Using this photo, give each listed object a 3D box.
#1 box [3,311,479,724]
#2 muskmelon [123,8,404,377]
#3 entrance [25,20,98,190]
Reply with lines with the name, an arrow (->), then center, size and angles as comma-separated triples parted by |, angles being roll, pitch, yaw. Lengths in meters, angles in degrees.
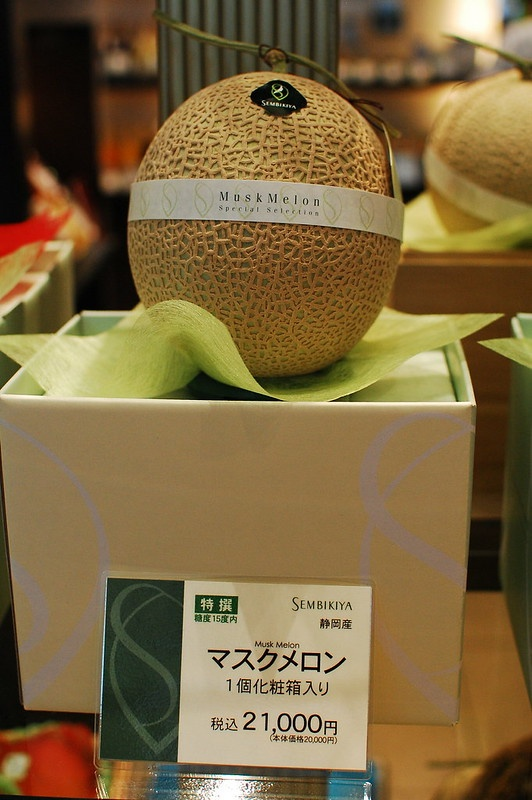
box -> -0.009, 0.025, 0.368 | 0.222, 0.144, 0.223 | 1, 15, 1
muskmelon -> -0.001, -0.129, 0.482 | 0.170, 0.225, 0.168 | -5, 11, -42
entrance -> -0.788, -1.139, 2.801 | 0.245, 0.634, 0.070 | -2, -10, -5
